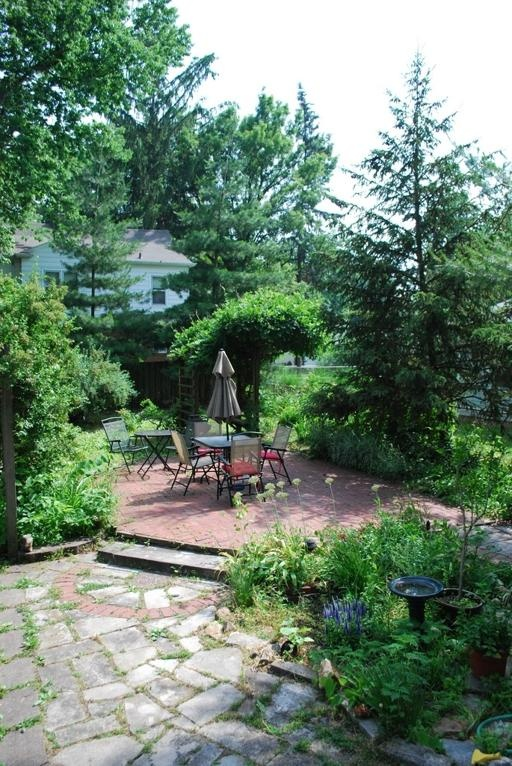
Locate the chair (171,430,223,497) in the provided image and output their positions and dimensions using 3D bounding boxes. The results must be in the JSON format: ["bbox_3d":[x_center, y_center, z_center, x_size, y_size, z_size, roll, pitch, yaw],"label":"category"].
[{"bbox_3d":[-0.834,1.132,9.192,0.868,1.164,0.745,0,3,-21],"label":"chair"}]

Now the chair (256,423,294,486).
[{"bbox_3d":[0.308,1.025,9.562,0.729,1.039,0.640,-3,1,-19],"label":"chair"}]

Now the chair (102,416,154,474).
[{"bbox_3d":[-2.055,1.007,10.050,0.601,0.814,0.479,1,8,40],"label":"chair"}]
